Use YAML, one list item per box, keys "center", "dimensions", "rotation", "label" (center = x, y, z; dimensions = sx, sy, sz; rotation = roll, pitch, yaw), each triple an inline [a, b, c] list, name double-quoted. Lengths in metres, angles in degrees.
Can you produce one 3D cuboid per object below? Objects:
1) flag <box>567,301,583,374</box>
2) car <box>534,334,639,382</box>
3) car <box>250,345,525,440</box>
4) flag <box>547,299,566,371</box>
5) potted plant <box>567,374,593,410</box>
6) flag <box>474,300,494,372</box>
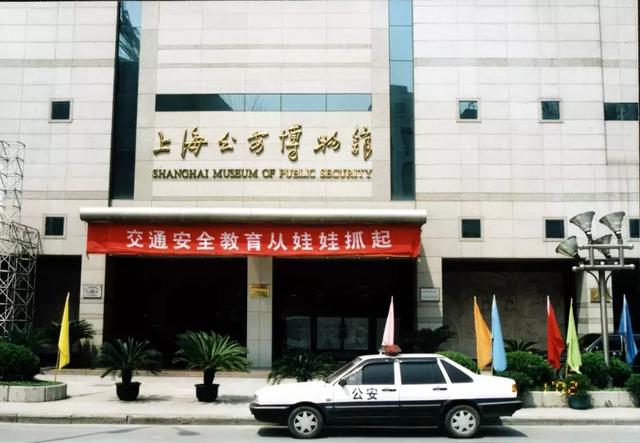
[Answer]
- center: [10.022, 4.552, 43.212]
  dimensions: [0.591, 2.863, 1.829]
  rotation: [-4, -11, 13]
  label: "flag"
- center: [10.933, 5.478, 44.126]
  dimensions: [4.179, 1.538, 1.875]
  rotation: [1, -10, 2]
  label: "car"
- center: [2.538, 6.371, 40.667]
  dimensions: [8.982, 2.470, 3.681]
  rotation: [1, -16, 1]
  label: "car"
- center: [9.277, 4.375, 43.068]
  dimensions: [0.629, 2.779, 1.030]
  rotation: [-3, -12, 10]
  label: "flag"
- center: [10.168, 6.573, 42.511]
  dimensions: [0.942, 1.293, 1.030]
  rotation: [1, -8, -17]
  label: "potted plant"
- center: [6.412, 4.422, 42.649]
  dimensions: [0.650, 2.663, 0.187]
  rotation: [2, -12, -13]
  label: "flag"
